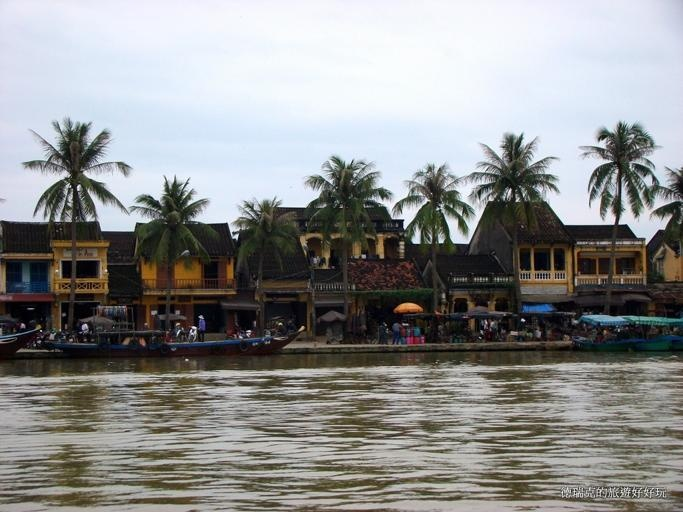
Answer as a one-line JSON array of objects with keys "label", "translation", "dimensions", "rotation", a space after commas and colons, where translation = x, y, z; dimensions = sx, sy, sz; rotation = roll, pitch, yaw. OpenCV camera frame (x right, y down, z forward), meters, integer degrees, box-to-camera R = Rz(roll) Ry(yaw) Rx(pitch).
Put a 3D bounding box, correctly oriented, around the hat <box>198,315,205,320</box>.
[{"label": "hat", "translation": [-8.816, 3.846, 92.261], "dimensions": [0.378, 0.188, 0.396], "rotation": [2, -4, 2]}]
